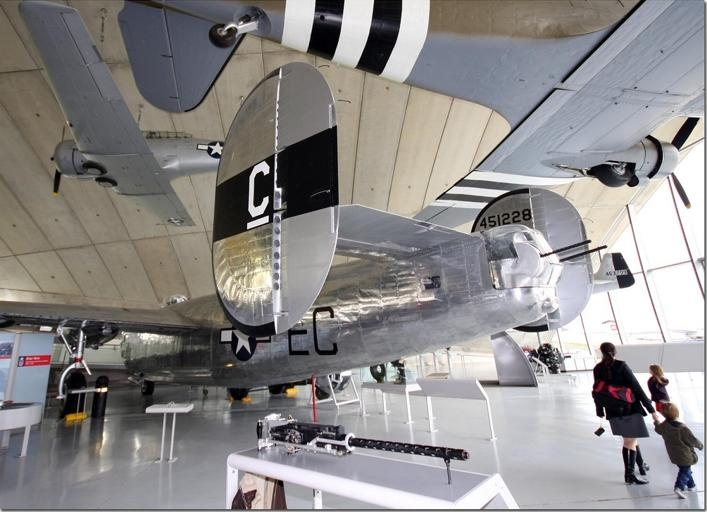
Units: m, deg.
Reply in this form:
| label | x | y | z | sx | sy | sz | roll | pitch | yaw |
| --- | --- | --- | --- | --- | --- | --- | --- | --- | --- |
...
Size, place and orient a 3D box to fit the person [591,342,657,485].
| label | x | y | z | sx | sy | sz | roll | pitch | yaw |
| --- | --- | --- | --- | --- | --- | --- | --- | --- | --- |
| person | 3.720 | 2.095 | 6.160 | 0.687 | 1.651 | 0.875 | -2 | 9 | -40 |

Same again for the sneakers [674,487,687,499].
| label | x | y | z | sx | sy | sz | roll | pitch | yaw |
| --- | --- | --- | --- | --- | --- | --- | --- | --- | --- |
| sneakers | 4.081 | 2.933 | 5.557 | 0.058 | 0.064 | 0.162 | -33 | -67 | 32 |

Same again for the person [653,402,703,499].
| label | x | y | z | sx | sy | sz | roll | pitch | yaw |
| --- | --- | --- | --- | --- | --- | --- | --- | --- | --- |
| person | 4.159 | 2.441 | 5.732 | 0.508 | 1.036 | 0.563 | 9 | 9 | 39 |
